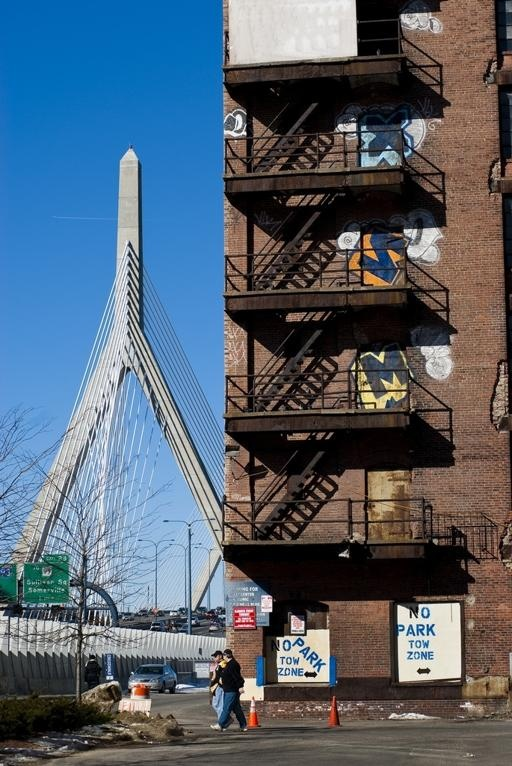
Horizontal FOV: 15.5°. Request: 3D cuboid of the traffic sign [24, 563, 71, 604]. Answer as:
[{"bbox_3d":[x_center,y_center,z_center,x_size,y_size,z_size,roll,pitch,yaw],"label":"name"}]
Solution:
[{"bbox_3d":[-7.354,6.740,66.276,1.575,1.489,2.216,0,-11,-9],"label":"traffic sign"}]
